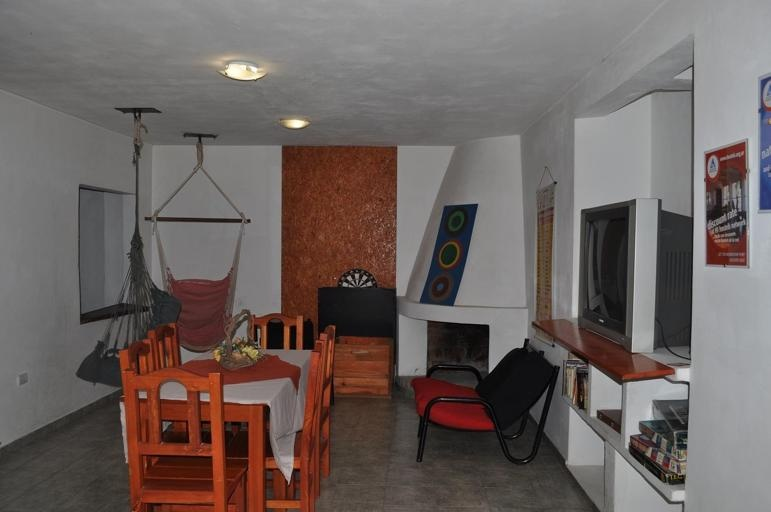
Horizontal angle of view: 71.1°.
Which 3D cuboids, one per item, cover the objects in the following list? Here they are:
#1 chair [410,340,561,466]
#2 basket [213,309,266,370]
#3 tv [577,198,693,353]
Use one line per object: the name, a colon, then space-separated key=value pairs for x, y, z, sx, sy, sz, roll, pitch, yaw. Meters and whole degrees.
chair: x=0.841 y=1.249 z=4.789 sx=1.055 sy=0.782 sz=0.929 roll=1 pitch=-3 yaw=4
basket: x=-1.199 y=0.659 z=4.145 sx=0.445 sy=0.489 sz=0.413 roll=4 pitch=7 yaw=2
tv: x=1.698 y=0.095 z=3.618 sx=0.472 sy=0.974 sz=0.714 roll=-1 pitch=13 yaw=-10
